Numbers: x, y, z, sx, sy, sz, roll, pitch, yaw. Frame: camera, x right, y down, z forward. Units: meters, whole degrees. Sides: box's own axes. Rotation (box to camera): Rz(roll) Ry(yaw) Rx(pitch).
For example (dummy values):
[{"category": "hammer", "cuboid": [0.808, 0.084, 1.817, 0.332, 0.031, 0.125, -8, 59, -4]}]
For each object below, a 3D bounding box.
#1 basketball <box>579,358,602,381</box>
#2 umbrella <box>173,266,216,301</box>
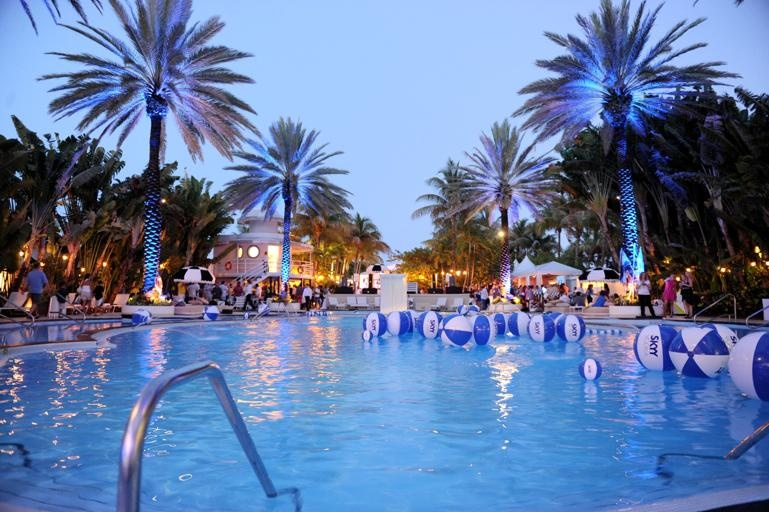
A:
[{"category": "basketball", "cuboid": [4.555, 2.477, 10.340, 0.426, 0.440, 0.431, 4, -33, -16]}, {"category": "umbrella", "cuboid": [-14.593, 2.293, 35.959, 2.679, 2.435, 2.764, 1, 2, 4]}]
